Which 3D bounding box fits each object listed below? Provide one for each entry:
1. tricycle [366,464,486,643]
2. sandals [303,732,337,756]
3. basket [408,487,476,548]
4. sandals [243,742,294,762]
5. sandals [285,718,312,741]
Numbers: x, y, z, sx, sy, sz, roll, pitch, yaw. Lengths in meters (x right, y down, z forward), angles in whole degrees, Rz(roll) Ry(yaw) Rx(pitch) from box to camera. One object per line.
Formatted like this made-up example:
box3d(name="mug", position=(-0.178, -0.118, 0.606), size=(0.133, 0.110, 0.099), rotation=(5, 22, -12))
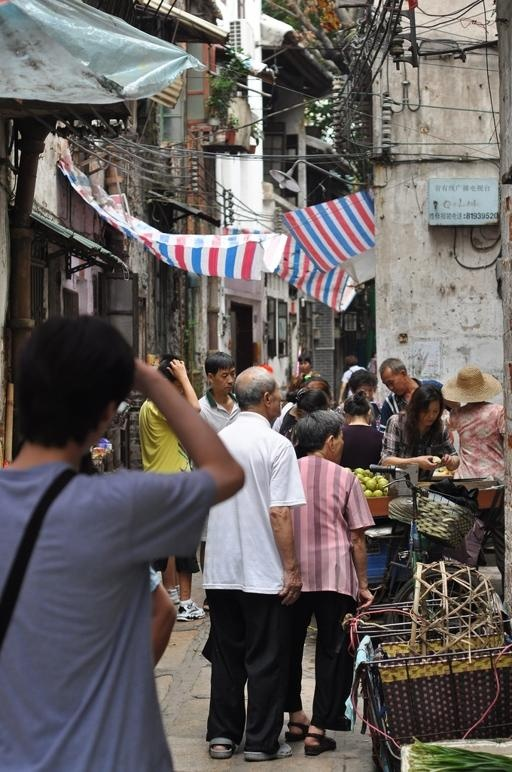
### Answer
box3d(name="tricycle", position=(0.887, 0.976, 6.691), size=(0.601, 1.102, 0.561), rotation=(11, 22, 5))
box3d(name="sandals", position=(0.266, 1.486, 5.226), size=(0.054, 0.082, 0.164), rotation=(1, 7, 28))
box3d(name="basket", position=(0.952, 0.669, 6.350), size=(0.276, 0.215, 0.242), rotation=(26, -18, 26))
box3d(name="sandals", position=(0.057, 1.499, 5.109), size=(0.184, 0.088, 0.073), rotation=(-5, 5, -37))
box3d(name="sandals", position=(0.182, 1.486, 5.402), size=(0.048, 0.067, 0.142), rotation=(1, 4, 22))
